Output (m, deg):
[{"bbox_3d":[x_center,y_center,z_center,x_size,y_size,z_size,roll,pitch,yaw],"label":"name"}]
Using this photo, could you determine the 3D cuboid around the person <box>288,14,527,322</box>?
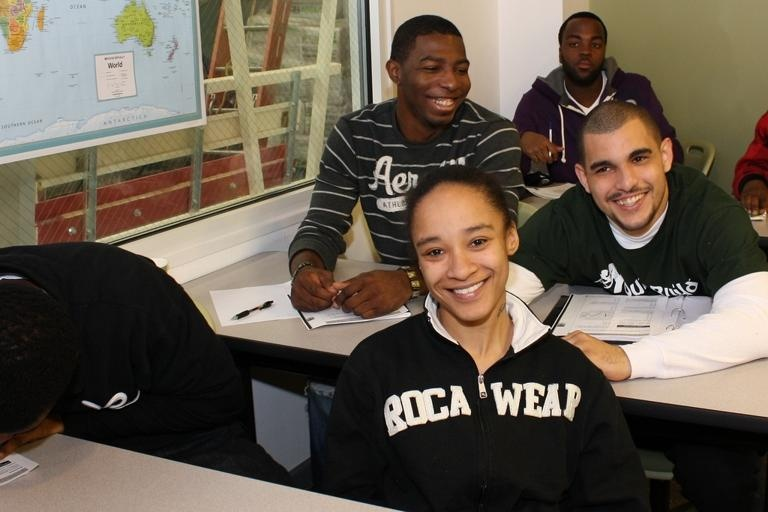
[{"bbox_3d":[0.073,-0.379,2.309,0.882,1.141,0.689,0,10,-18],"label":"person"}]

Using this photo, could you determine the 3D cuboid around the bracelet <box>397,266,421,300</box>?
[{"bbox_3d":[0.084,0.087,2.002,0.090,0.089,0.090,-10,20,-17],"label":"bracelet"}]

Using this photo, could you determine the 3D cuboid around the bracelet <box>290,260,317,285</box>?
[{"bbox_3d":[-0.298,0.058,2.072,0.020,0.074,0.073,34,24,29],"label":"bracelet"}]
